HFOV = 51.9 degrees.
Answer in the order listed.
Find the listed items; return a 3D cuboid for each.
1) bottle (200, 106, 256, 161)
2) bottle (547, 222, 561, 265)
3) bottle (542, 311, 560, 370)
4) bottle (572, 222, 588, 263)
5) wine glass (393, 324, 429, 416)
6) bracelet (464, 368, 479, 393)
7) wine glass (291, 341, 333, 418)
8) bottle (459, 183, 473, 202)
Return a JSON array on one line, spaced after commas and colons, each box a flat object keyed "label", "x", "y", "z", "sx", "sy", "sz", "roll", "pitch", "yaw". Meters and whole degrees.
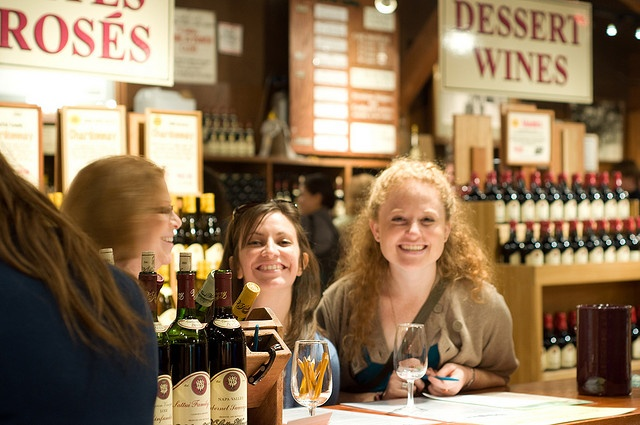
[{"label": "bottle", "x": -0.822, "y": -0.688, "z": 5.824, "sx": 0.385, "sy": 0.280, "sz": 0.412, "roll": 1, "pitch": -1, "yaw": 0}, {"label": "bottle", "x": 1.506, "y": 0.227, "z": 4.240, "sx": 0.105, "sy": 0.203, "sz": 0.068, "roll": 3, "pitch": -5, "yaw": -39}, {"label": "bottle", "x": 1.526, "y": 0.847, "z": 4.318, "sx": 0.155, "sy": 0.358, "sz": 0.080, "roll": 4, "pitch": -6, "yaw": -45}, {"label": "bottle", "x": 1.720, "y": 0.197, "z": 4.328, "sx": 0.075, "sy": 0.278, "sz": 0.164, "roll": -4, "pitch": -5, "yaw": 40}, {"label": "wine glass", "x": 0.354, "y": 0.600, "z": 2.560, "sx": 0.123, "sy": 0.331, "sz": 0.120, "roll": -3, "pitch": -5, "yaw": 30}, {"label": "bracelet", "x": 0.704, "y": 0.766, "z": 3.050, "sx": 0.035, "sy": 0.068, "sz": 0.090, "roll": 21, "pitch": -58, "yaw": -36}, {"label": "wine glass", "x": -0.030, "y": 0.566, "z": 2.304, "sx": 0.134, "sy": 0.225, "sz": 0.056, "roll": 0, "pitch": -4, "yaw": 1}, {"label": "bottle", "x": 1.046, "y": -0.162, "z": 4.692, "sx": 0.103, "sy": 0.161, "sz": 0.060, "roll": 7, "pitch": -1, "yaw": 28}]
